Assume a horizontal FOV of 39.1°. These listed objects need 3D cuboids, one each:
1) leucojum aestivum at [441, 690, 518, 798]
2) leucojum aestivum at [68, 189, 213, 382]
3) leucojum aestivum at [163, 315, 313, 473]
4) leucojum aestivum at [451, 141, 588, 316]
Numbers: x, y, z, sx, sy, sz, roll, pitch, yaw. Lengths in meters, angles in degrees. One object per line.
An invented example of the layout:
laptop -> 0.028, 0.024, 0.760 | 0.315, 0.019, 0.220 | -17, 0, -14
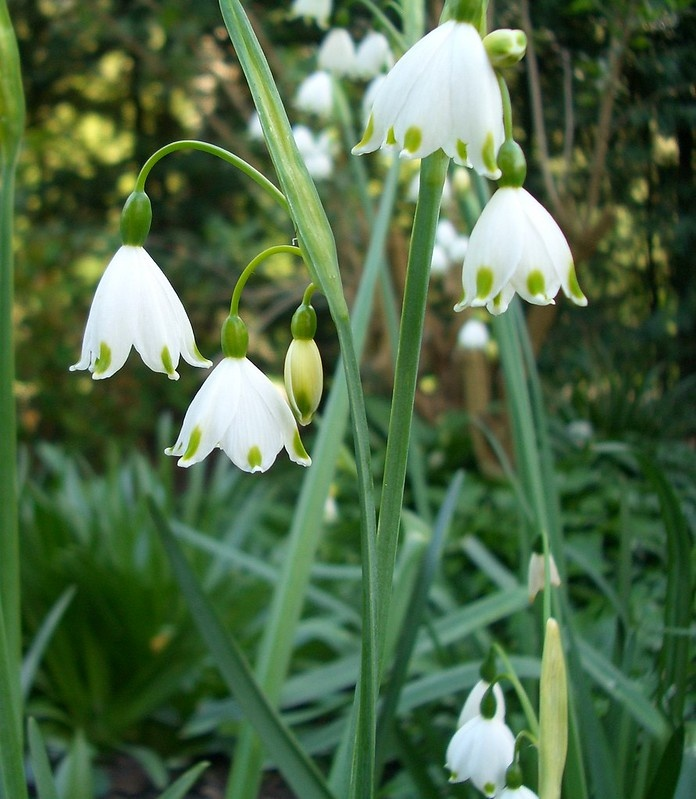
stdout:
leucojum aestivum -> 0.136, 0.348, 0.999 | 0.074, 0.118, 0.085 | 2, 19, 18
leucojum aestivum -> -0.188, -0.106, 0.901 | 0.108, 0.196, 0.111 | 7, -19, -43
leucojum aestivum -> -0.103, 0.005, 0.920 | 0.112, 0.172, 0.134 | -6, -20, -6
leucojum aestivum -> 0.142, -0.143, 0.833 | 0.122, 0.142, 0.070 | -16, 21, -30
